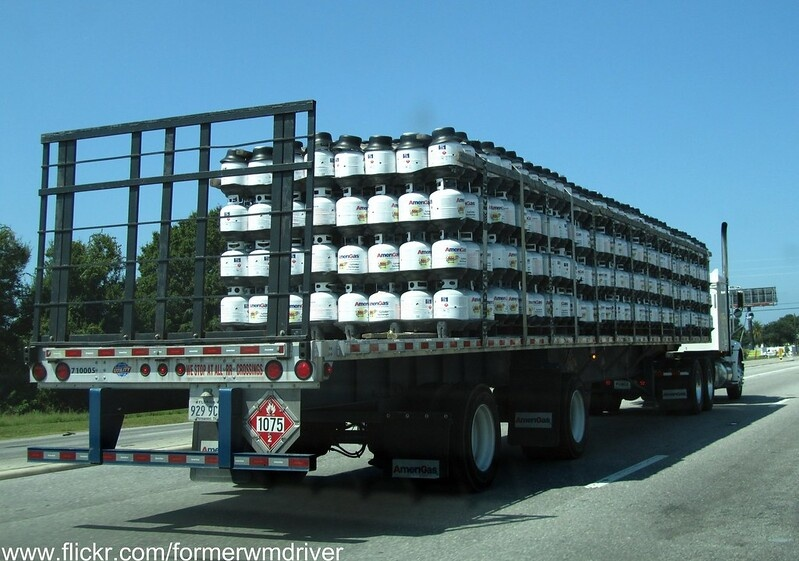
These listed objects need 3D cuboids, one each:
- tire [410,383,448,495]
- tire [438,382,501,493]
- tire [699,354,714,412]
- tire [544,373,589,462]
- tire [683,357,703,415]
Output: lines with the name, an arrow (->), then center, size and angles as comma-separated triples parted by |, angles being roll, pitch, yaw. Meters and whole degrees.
tire -> 0.387, 2.161, 13.563 | 0.845, 1.340, 0.401 | -2, -8, 1
tire -> 0.993, 2.266, 13.794 | 0.504, 1.546, 1.602 | -2, 1, 24
tire -> 7.809, 2.565, 24.026 | 0.446, 1.329, 1.369 | -2, -7, 16
tire -> 2.838, 2.316, 16.229 | 0.496, 1.395, 1.443 | 1, -8, 25
tire -> 7.282, 2.470, 23.476 | 0.389, 1.245, 1.294 | 0, 0, 14
